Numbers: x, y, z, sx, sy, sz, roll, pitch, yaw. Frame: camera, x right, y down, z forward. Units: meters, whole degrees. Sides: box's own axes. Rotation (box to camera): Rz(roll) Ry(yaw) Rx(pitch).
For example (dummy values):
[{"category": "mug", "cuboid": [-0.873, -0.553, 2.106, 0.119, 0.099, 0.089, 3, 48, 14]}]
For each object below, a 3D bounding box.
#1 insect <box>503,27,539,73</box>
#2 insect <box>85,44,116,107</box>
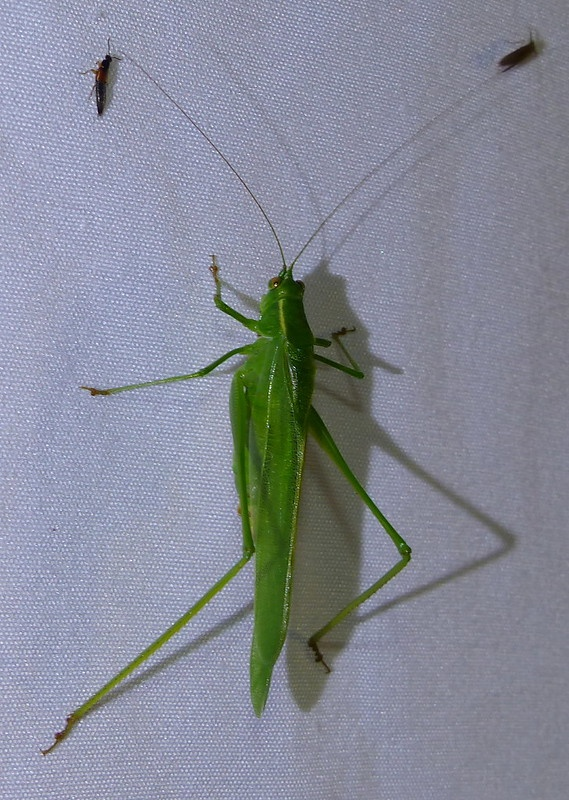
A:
[{"category": "insect", "cuboid": [0.595, -0.866, 2.250, 0.110, 0.081, 0.032, -32, 12, 1]}, {"category": "insect", "cuboid": [-0.409, -0.706, 2.001, 0.084, 0.106, 0.031, 14, -5, -30]}]
